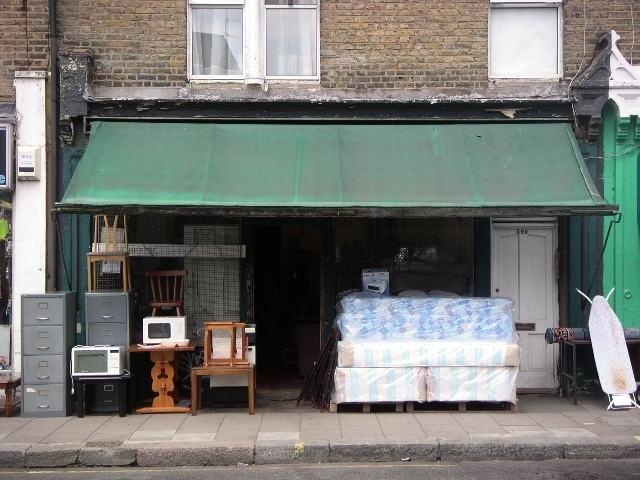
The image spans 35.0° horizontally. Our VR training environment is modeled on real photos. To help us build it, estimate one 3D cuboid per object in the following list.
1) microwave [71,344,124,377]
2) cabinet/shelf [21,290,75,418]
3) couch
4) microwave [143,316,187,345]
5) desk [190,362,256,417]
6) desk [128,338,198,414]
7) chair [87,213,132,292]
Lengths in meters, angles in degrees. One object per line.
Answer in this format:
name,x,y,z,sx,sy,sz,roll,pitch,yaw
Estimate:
microwave,-3.609,1.979,16.575,0.755,0.479,0.739,0,3,-3
cabinet/shelf,-4.450,1.887,16.480,0.806,1.891,0.866,0,-3,-6
couch,1.779,1.839,17.044,2.964,1.569,1.627,-1,10,3
microwave,-2.548,1.486,16.611,0.650,0.404,0.463,0,-8,-4
desk,-1.589,2.460,16.623,1.067,0.803,0.763,2,-11,-5
desk,-2.670,2.310,17.076,1.103,1.077,1.144,1,-4,-2
chair,-3.556,0.101,17.012,0.644,1.461,0.624,-2,12,-10
